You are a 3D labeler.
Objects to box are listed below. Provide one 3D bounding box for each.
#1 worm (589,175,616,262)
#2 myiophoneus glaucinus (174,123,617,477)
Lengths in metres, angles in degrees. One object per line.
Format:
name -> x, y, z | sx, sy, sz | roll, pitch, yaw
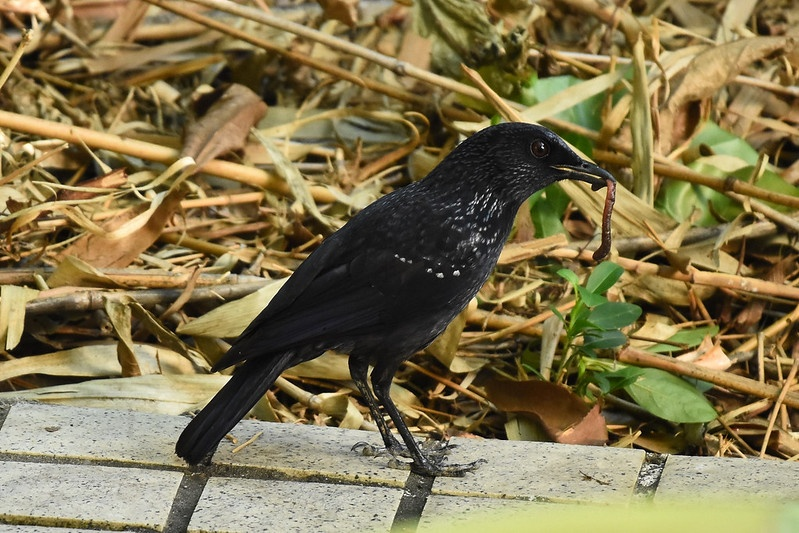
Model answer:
worm -> 0.745, -0.171, 3.291 | 0.145, 0.290, 0.095 | 3, 3, 6
myiophoneus glaucinus -> 0.015, 0.091, 2.958 | 0.764, 1.346, 0.888 | 29, 16, 6
